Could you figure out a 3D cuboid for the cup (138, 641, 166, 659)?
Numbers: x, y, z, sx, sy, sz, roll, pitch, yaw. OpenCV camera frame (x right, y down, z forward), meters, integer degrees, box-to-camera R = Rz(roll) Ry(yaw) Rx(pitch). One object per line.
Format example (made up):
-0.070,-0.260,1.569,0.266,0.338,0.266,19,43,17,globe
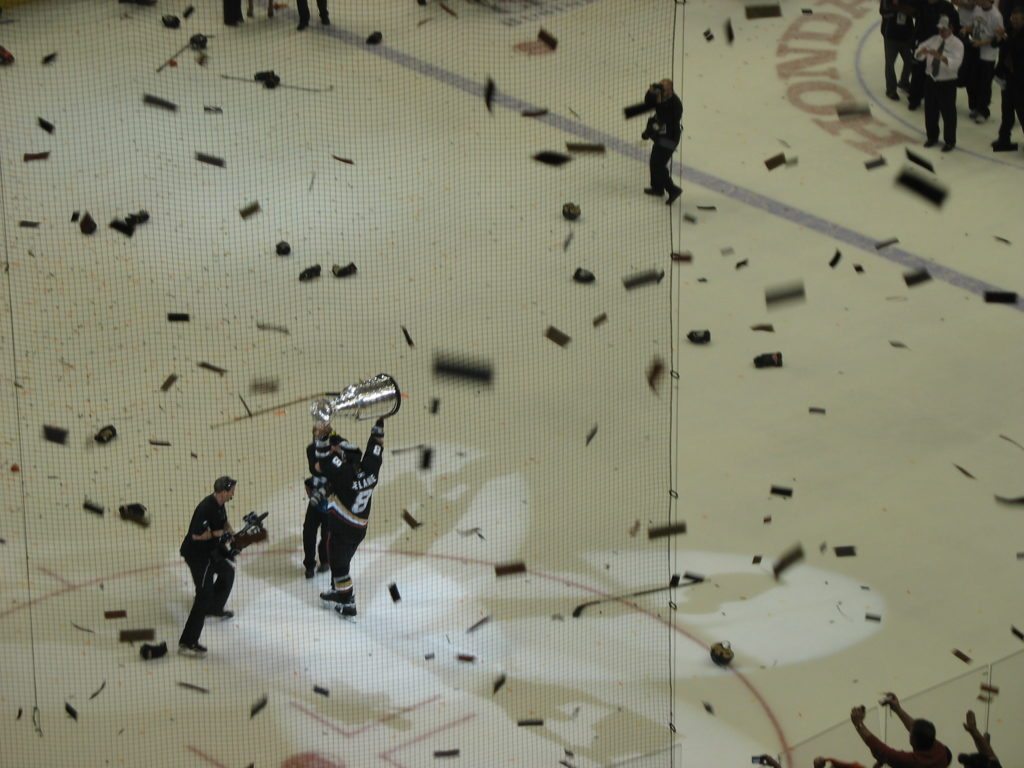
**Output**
-3.181,2.350,12.388,0.120,0.142,0.177,-4,-5,44,cup

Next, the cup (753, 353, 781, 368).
2.547,-0.243,13.978,0.198,0.149,0.075,-2,-31,7,cup

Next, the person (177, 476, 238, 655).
-2.721,1.682,12.486,0.504,0.674,1.664,-3,-59,-17,person

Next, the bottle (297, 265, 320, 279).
-2.088,-1.137,14.324,0.205,0.117,0.073,-18,-7,-19,bottle

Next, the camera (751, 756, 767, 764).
2.070,3.153,11.765,0.095,0.083,0.038,2,-1,19,camera

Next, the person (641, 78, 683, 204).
1.583,-2.544,14.941,0.434,0.527,1.390,-2,-46,1,person

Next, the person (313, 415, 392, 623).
-1.474,1.202,12.584,0.507,1.636,0.976,-4,-15,-46,person
